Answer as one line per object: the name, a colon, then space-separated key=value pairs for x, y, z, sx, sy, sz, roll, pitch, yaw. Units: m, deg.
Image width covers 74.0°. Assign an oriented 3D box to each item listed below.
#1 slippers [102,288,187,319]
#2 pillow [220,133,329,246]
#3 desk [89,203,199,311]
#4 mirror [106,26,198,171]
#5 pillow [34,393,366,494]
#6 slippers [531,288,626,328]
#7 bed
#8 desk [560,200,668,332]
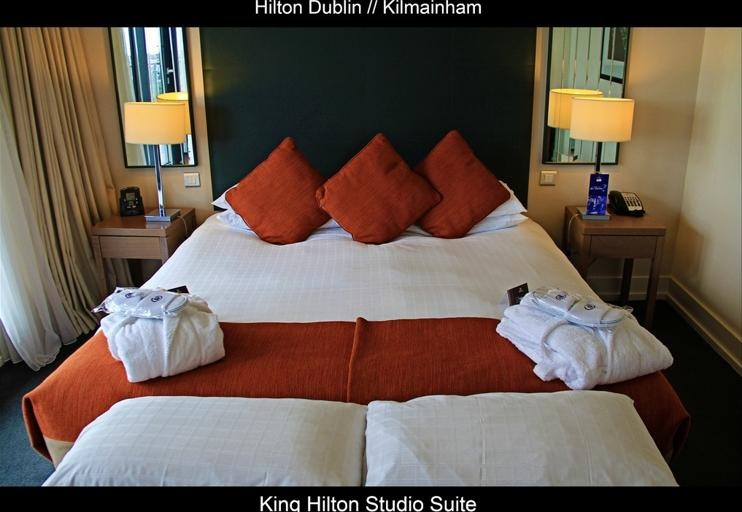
slippers: x=-0.894 y=0.182 z=1.928 sx=0.238 sy=0.033 sz=0.154 roll=-3 pitch=23 yaw=2
pillow: x=-0.603 y=-0.411 z=3.284 sx=0.634 sy=0.678 sz=0.185 roll=-42 pitch=-3 yaw=-4
desk: x=-1.670 y=0.023 z=3.711 sx=0.679 sy=0.696 sz=0.668 roll=17 pitch=28 yaw=25
mirror: x=-1.680 y=-1.254 z=3.795 sx=0.098 sy=1.099 sz=0.533 roll=-33 pitch=27 yaw=-11
pillow: x=-0.555 y=0.612 z=1.650 sx=0.831 sy=0.185 sz=0.542 roll=-9 pitch=6 yaw=15
slippers: x=0.801 y=0.200 z=1.944 sx=0.264 sy=0.046 sz=0.164 roll=22 pitch=32 yaw=40
bed: x=-0.170 y=-0.190 z=2.669 sx=2.233 sy=1.298 sz=2.147 roll=-1 pitch=18 yaw=-1
desk: x=1.767 y=0.084 z=3.653 sx=0.639 sy=0.763 sz=0.663 roll=9 pitch=21 yaw=26
